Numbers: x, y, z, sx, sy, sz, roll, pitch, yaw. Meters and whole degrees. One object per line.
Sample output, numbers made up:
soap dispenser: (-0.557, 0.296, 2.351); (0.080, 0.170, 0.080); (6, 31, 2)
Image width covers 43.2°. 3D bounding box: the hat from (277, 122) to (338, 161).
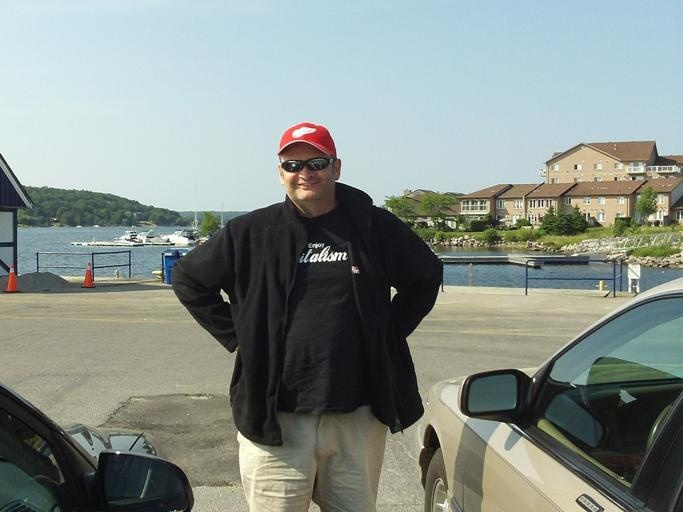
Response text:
hat: (-0.198, -0.631, 4.649); (0.277, 0.182, 0.371); (-5, 1, 4)
